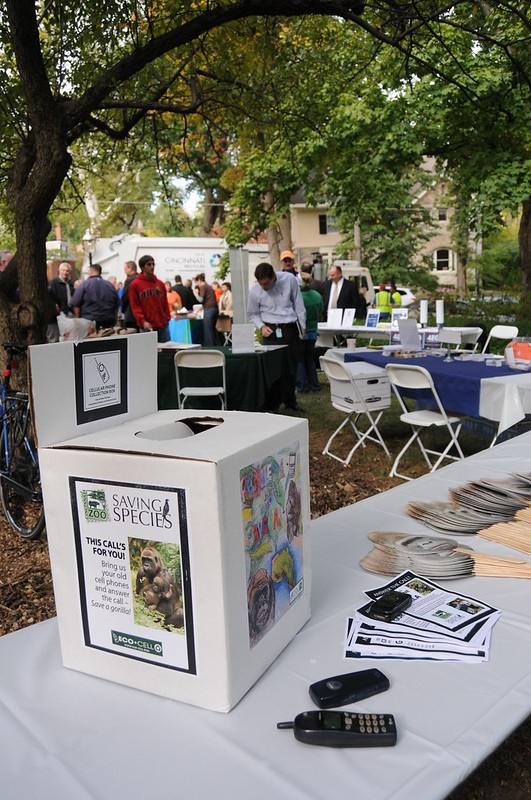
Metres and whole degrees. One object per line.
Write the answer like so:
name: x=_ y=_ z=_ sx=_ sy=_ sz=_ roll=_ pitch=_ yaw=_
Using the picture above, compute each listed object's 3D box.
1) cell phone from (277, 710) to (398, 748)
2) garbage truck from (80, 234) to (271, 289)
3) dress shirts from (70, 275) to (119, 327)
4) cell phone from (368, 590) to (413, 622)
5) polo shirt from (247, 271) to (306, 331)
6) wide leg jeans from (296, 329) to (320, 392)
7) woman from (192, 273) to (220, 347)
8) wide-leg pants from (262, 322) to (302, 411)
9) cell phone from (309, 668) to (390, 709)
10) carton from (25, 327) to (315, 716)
cell phone: x=0.108 y=0.424 z=0.847 sx=0.121 sy=0.026 sz=0.056 roll=0 pitch=0 yaw=2
garbage truck: x=-2.117 y=-2.867 z=15.784 sx=3.936 sy=2.053 sz=2.254 roll=-1 pitch=23 yaw=-7
dress shirts: x=-2.366 y=-1.400 z=9.069 sx=0.676 sy=0.658 sz=0.381 roll=-3 pitch=7 yaw=-26
cell phone: x=0.230 y=0.376 z=1.185 sx=0.035 sy=0.017 sz=0.064 roll=1 pitch=4 yaw=31
polo shirt: x=0.113 y=-1.069 z=7.325 sx=0.661 sy=0.715 sz=0.374 roll=-9 pitch=19 yaw=3
wide leg jeans: x=0.537 y=-0.556 z=8.879 sx=0.299 sy=0.867 sz=0.233 roll=-8 pitch=10 yaw=-28
woman: x=-1.084 y=-1.619 z=12.084 sx=0.440 sy=1.494 sz=0.443 roll=-8 pitch=9 yaw=-32
wide-leg pants: x=0.170 y=-0.295 z=7.251 sx=0.368 sy=1.081 sz=0.328 roll=2 pitch=6 yaw=20
cell phone: x=0.116 y=0.410 z=0.942 sx=0.089 sy=0.022 sz=0.044 roll=-4 pitch=7 yaw=-28
carton: x=-0.133 y=0.173 z=1.106 sx=0.371 sy=0.537 sz=0.433 roll=0 pitch=7 yaw=8
